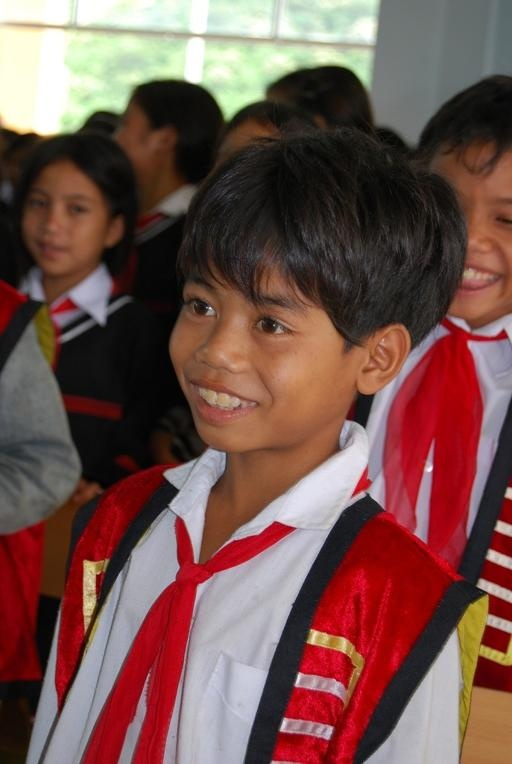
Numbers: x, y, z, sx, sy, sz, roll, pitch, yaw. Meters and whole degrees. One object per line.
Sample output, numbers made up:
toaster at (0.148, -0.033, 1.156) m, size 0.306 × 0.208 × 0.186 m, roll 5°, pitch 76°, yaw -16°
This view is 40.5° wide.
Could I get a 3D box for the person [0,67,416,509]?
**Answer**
person at (-0.102, -0.281, 1.739) m, size 0.953 × 0.824 × 0.835 m, roll 3°, pitch 6°, yaw 7°
